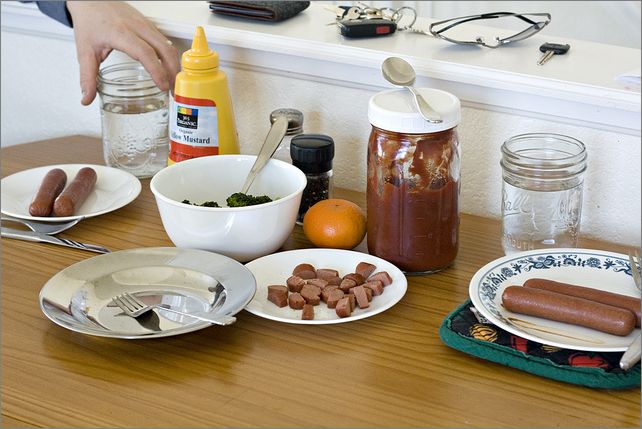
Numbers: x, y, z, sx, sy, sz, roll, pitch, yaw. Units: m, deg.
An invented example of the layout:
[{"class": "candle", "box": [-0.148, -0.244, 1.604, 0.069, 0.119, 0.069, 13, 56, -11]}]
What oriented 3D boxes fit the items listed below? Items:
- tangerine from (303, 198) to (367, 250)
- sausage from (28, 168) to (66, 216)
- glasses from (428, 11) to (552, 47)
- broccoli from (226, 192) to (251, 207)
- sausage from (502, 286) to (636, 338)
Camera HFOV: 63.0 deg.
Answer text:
[{"class": "tangerine", "box": [0.029, 0.008, 1.065, 0.116, 0.075, 0.104, 4, 10, -1]}, {"class": "sausage", "box": [-0.613, -0.050, 1.194, 0.044, 0.039, 0.138, 3, 31, 4]}, {"class": "glasses", "box": [0.400, -0.465, 1.264, 0.269, 0.078, 0.219, 5, 33, 8]}, {"class": "broccoli", "box": [-0.175, -0.033, 1.067, 0.033, 0.020, 0.037, -2, 9, 3]}, {"class": "sausage", "box": [0.385, 0.150, 0.900, 0.256, 0.060, 0.068, 10, 19, 21]}]
